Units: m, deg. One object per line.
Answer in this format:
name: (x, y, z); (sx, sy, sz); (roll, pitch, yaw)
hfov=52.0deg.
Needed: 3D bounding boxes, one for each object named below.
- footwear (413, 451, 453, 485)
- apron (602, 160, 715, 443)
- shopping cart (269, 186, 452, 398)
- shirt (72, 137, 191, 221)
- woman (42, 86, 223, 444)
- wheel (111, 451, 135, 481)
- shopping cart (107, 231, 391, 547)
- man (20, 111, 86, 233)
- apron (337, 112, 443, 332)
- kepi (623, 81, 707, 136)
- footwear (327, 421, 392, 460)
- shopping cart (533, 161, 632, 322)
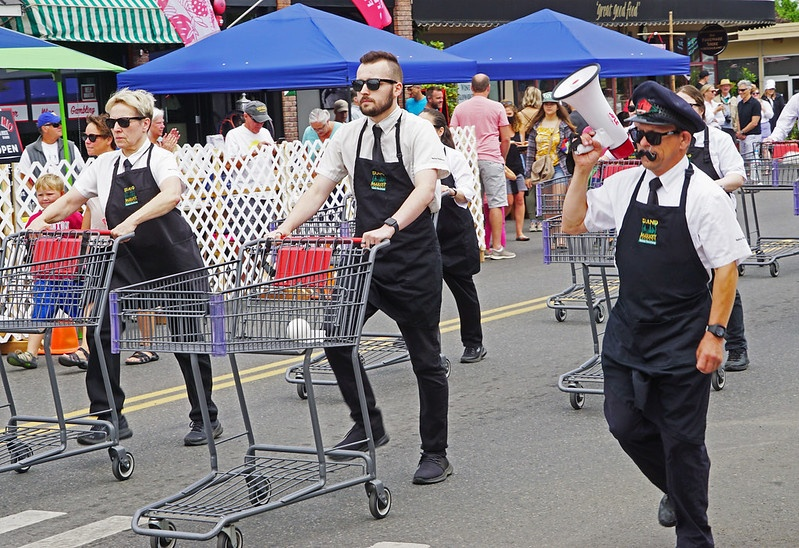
footwear: (0.203, 1.278, 5.390); (0.133, 0.125, 0.290); (-3, -3, 23)
apron: (1.389, 0.069, 4.332); (0.652, 1.392, 0.562); (-3, -3, 21)
shopping cart: (-0.786, 0.237, 8.239); (1.293, 2.101, 2.309); (-3, -2, 23)
shirt: (-2.065, -0.739, 6.576); (1.086, 0.685, 0.539); (-1, 10, 13)
woman: (-2.126, -0.072, 6.158); (1.717, 2.570, 1.287); (1, -1, -11)
wheel: (-1.906, 1.319, 5.633); (0.084, 0.176, 0.213); (-9, -5, 17)
shopping cart: (-1.056, 0.636, 5.575); (1.359, 2.052, 2.174); (0, 1, 35)
man: (-5.054, -1.382, 11.894); (1.057, 1.934, 0.535); (-14, 28, -41)
apron: (-0.013, -0.334, 5.489); (0.744, 1.658, 0.470); (18, 31, 34)
kepi: (1.336, -0.841, 4.151); (0.334, 0.154, 0.279); (14, 1, -25)
footwear: (-0.341, 1.158, 5.572); (0.543, 0.217, 0.176); (-11, 2, -15)
shopping cart: (1.703, -0.167, 7.186); (1.069, 0.922, 0.574); (7, 2, -2)
